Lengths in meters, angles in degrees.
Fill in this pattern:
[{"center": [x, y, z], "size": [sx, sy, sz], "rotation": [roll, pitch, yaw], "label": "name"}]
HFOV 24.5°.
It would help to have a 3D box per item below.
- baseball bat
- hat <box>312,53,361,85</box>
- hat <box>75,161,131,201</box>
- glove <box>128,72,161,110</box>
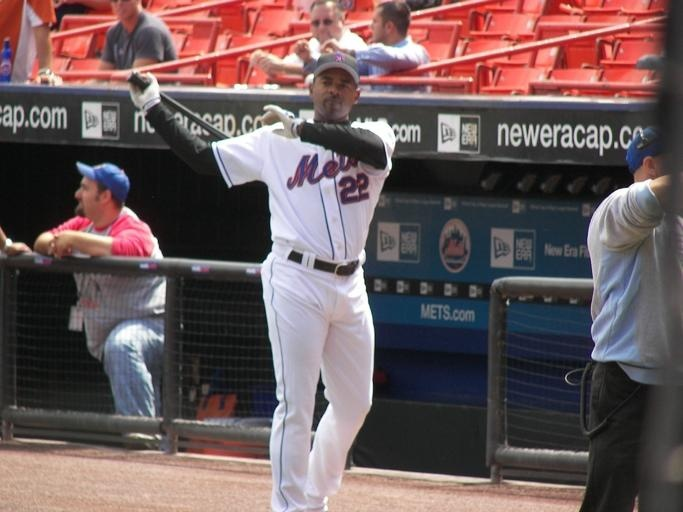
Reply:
[{"center": [-1.005, -0.903, 9.614], "size": [0.802, 0.103, 0.113], "rotation": [39, 16, -15], "label": "baseball bat"}, {"center": [-0.024, -1.021, 8.517], "size": [0.251, 0.157, 0.345], "rotation": [5, -6, -1], "label": "hat"}, {"center": [-1.502, -0.513, 9.968], "size": [0.323, 0.159, 0.206], "rotation": [30, 11, -9], "label": "hat"}, {"center": [-1.060, -0.910, 8.556], "size": [0.218, 0.159, 0.065], "rotation": [62, 18, 18], "label": "glove"}]
